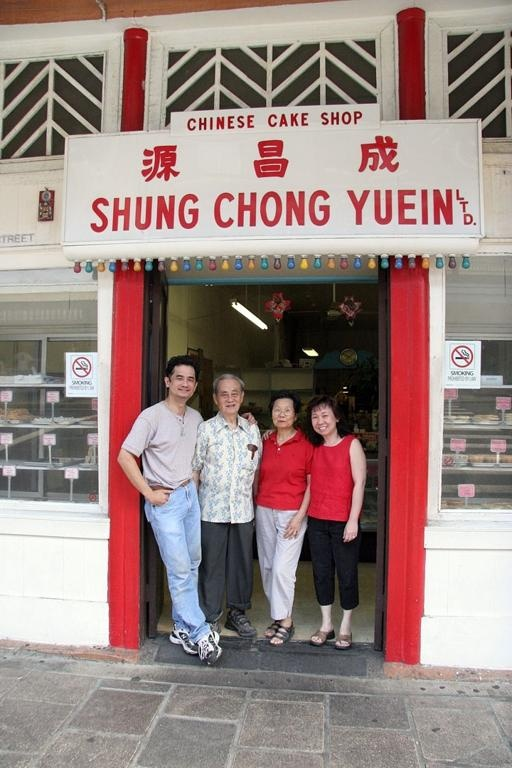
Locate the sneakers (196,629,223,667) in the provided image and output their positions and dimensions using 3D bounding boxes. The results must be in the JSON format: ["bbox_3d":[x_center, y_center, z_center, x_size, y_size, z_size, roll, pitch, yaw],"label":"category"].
[{"bbox_3d":[-0.235,1.332,3.877,0.096,0.085,0.211,29,-5,-4],"label":"sneakers"}]

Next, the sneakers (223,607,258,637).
[{"bbox_3d":[-0.093,1.323,4.223,0.075,0.104,0.223,5,-13,-28],"label":"sneakers"}]

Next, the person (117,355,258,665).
[{"bbox_3d":[-0.453,0.645,3.942,0.475,1.512,0.708,-3,14,-11],"label":"person"}]

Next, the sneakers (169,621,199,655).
[{"bbox_3d":[-0.382,1.337,4.031,0.207,0.096,0.077,10,7,43],"label":"sneakers"}]

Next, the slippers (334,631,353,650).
[{"bbox_3d":[0.449,1.353,4.022,0.084,0.058,0.073,-1,14,-1],"label":"slippers"}]

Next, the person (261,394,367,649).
[{"bbox_3d":[0.419,0.759,4.115,0.291,1.338,0.518,0,13,4],"label":"person"}]
